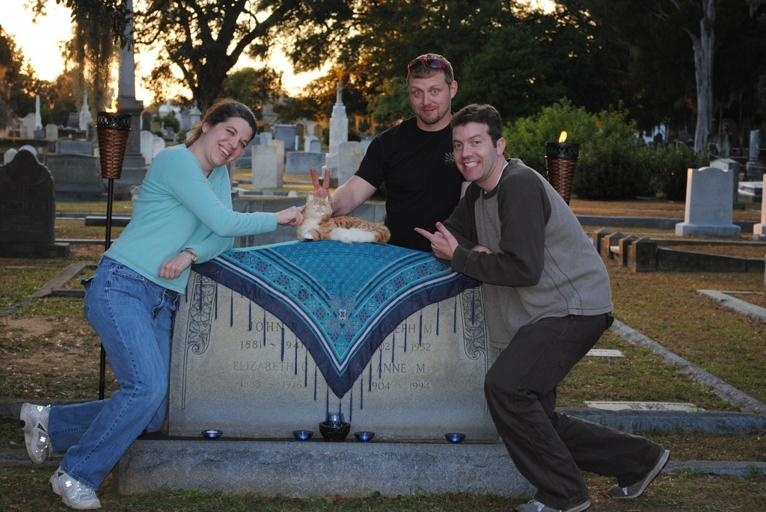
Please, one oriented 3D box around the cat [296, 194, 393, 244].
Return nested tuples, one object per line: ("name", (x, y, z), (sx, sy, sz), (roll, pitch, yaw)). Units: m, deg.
("cat", (-0.823, -0.550, 25.012), (1.479, 0.784, 0.922), (9, -20, -16))
